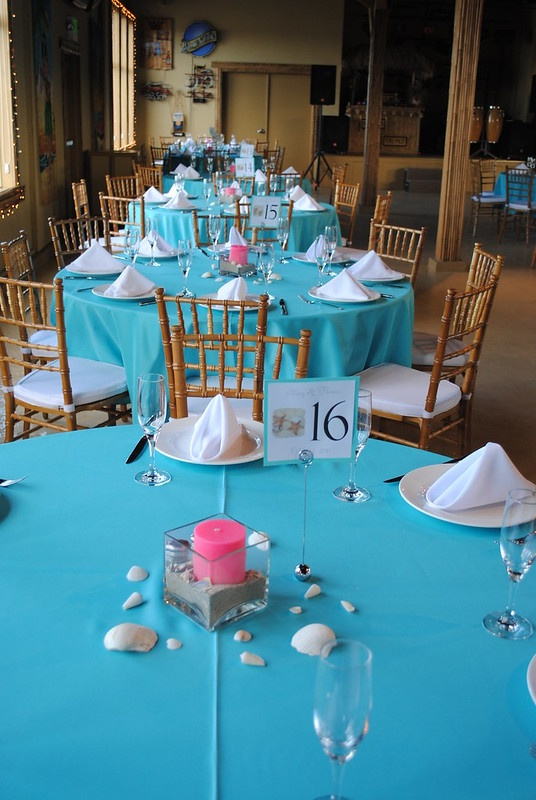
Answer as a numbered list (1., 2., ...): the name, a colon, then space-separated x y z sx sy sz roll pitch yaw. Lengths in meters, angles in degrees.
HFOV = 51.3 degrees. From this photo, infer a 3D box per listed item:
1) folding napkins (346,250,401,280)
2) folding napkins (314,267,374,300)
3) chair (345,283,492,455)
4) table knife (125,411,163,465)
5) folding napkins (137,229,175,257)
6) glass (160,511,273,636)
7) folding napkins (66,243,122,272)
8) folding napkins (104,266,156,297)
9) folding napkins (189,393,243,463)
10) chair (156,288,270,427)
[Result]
1. folding napkins: 0.564 -0.688 2.972 0.206 0.090 0.201 -4 21 -8
2. folding napkins: 0.366 -0.517 2.616 0.187 0.076 0.183 15 24 35
3. chair: 0.719 -0.062 2.682 0.556 0.913 0.528 15 25 39
4. table knife: -0.270 0.087 1.220 0.040 0.012 0.285 3 15 1
5. folding napkins: -0.675 -0.923 3.309 0.177 0.082 0.178 17 35 33
6. glass: -0.071 0.230 0.822 0.129 0.132 0.131 17 21 42
7. folding napkins: -0.911 -0.720 2.933 0.224 0.102 0.176 -1 26 -1
8. folding napkins: -0.642 -0.526 2.579 0.200 0.107 0.202 12 27 35
9. folding napkins: -0.115 0.063 1.232 0.103 0.086 0.135 13 36 17
10. chair: -0.189 -0.181 2.011 0.381 0.608 0.405 6 39 3
